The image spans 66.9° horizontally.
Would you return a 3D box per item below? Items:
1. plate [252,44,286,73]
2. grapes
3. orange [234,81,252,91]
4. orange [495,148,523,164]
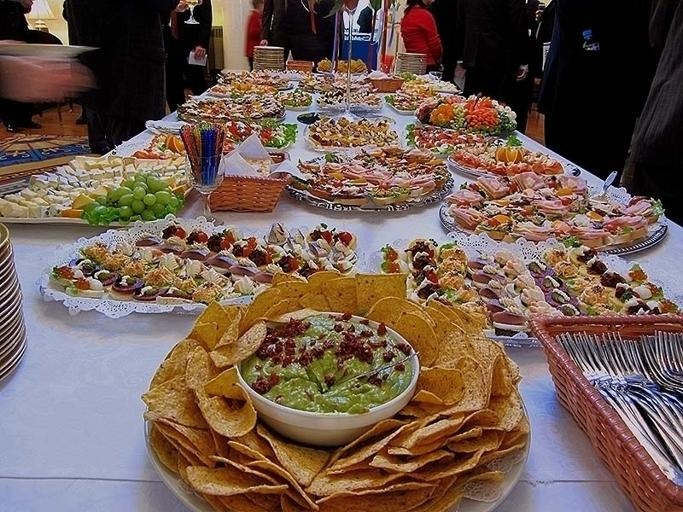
[{"bbox_3d":[-0.823,-2.198,5.760,0.314,0.286,0.323,0,20,-6],"label":"plate"},{"bbox_3d":[-0.799,-0.206,1.994,0.212,0.085,0.216,-25,31,-35],"label":"grapes"},{"bbox_3d":[-0.849,-1.458,4.459,0.104,0.064,0.135,-1,9,-6],"label":"orange"},{"bbox_3d":[0.925,-0.560,2.853,0.098,0.063,0.101,0,20,3],"label":"orange"}]
